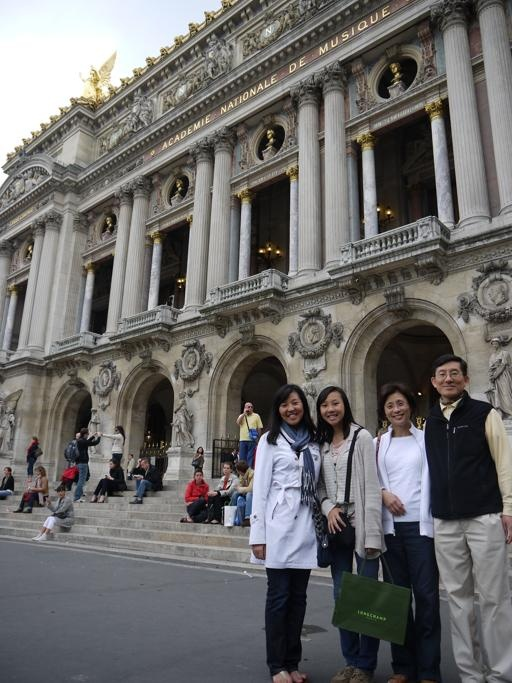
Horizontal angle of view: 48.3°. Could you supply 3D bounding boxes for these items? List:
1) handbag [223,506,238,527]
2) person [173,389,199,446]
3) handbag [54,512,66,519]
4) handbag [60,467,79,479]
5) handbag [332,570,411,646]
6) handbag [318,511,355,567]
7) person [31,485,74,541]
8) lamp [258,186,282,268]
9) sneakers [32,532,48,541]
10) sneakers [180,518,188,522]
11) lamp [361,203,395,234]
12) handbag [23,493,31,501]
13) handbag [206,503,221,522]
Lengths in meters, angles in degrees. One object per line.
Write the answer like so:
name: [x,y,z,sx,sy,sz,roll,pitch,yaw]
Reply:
handbag: [-0.458,3.258,10.721,0.242,0.430,0.333,-13,-15,41]
person: [-2.476,2.634,19.856,0.713,2.070,1.491,5,-15,-21]
handbag: [-4.314,3.779,12.560,0.170,0.069,0.165,2,-6,4]
handbag: [-5.041,3.520,15.493,0.415,0.335,0.663,3,-7,-19]
handbag: [0.590,1.294,2.891,0.369,0.341,0.111,18,-19,-5]
handbag: [0.467,1.126,3.274,0.179,0.310,0.243,11,-22,-16]
person: [-4.390,3.699,12.548,0.753,1.095,1.582,3,-14,-16]
lamp: [0.529,-4.735,25.182,0.792,3.706,1.430,6,-15,-23]
sneakers: [-4.453,4.009,11.841,0.166,0.090,0.254,-2,-20,15]
sneakers: [-1.467,3.629,11.707,0.164,0.080,0.258,1,-9,-5]
lamp: [4.891,-4.686,21.603,0.675,1.106,0.174,-13,-19,41]
handbag: [-6.194,4.167,15.547,0.207,0.265,0.108,2,0,17]
handbag: [-0.799,3.348,11.297,0.300,0.404,0.347,-3,-48,4]
